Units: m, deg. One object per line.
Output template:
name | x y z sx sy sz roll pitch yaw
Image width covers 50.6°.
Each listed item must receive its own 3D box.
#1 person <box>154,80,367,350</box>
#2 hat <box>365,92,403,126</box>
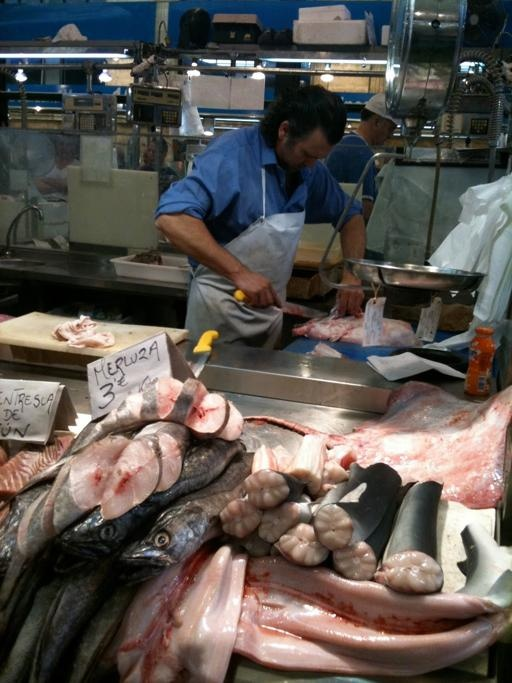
person | 0.088 -0.579 2.741 1.154 1.315 0.758 -7 18 -43
hat | 0.915 -1.733 3.972 0.174 0.246 0.417 3 12 -7
